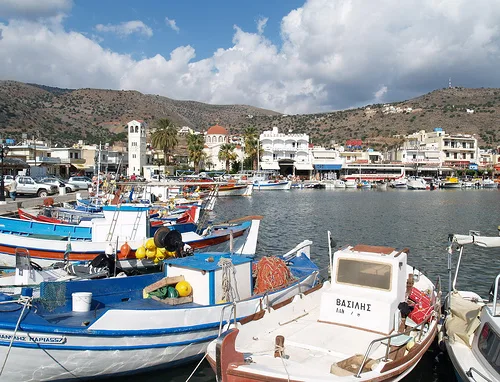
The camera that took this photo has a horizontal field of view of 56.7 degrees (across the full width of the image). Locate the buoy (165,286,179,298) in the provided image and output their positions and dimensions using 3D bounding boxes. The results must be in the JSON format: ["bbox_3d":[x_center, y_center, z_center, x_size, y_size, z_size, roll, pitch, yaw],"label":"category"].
[{"bbox_3d":[-2.175,2.832,13.056,0.228,0.314,0.119,-18,-8,-5],"label":"buoy"}]

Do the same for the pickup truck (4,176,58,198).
[{"bbox_3d":[-17.459,-0.333,37.589,2.782,1.590,3.674,1,-6,-15],"label":"pickup truck"}]

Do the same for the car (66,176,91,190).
[{"bbox_3d":[-17.760,-0.751,48.255,2.153,1.059,1.360,-3,10,-18],"label":"car"}]

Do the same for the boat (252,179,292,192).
[{"bbox_3d":[3.704,-1.068,78.314,6.554,1.785,2.381,0,13,0],"label":"boat"}]

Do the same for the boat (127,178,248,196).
[{"bbox_3d":[-6.536,0.144,60.060,12.560,2.208,2.572,-2,6,-5],"label":"boat"}]

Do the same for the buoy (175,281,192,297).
[{"bbox_3d":[-1.865,2.754,13.185,0.373,0.390,0.450,-6,-11,41],"label":"buoy"}]

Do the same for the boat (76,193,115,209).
[{"bbox_3d":[-9.505,0.613,28.730,3.201,1.241,0.772,3,4,31],"label":"boat"}]

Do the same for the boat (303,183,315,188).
[{"bbox_3d":[10.913,-1.029,84.135,1.937,0.812,0.929,-1,0,6],"label":"boat"}]

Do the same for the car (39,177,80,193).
[{"bbox_3d":[-16.922,-0.526,41.572,3.089,1.081,1.296,-1,7,-25],"label":"car"}]

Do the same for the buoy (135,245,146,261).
[{"bbox_3d":[-4.074,2.317,17.401,0.289,0.416,0.255,10,-16,-9],"label":"buoy"}]

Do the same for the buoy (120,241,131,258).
[{"bbox_3d":[-4.739,2.308,17.883,0.438,0.635,0.440,2,-5,9],"label":"buoy"}]

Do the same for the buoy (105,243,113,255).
[{"bbox_3d":[-4.976,2.083,16.469,0.275,0.313,0.278,1,-6,-4],"label":"buoy"}]

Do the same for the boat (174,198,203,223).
[{"bbox_3d":[-4.499,1.199,32.574,1.286,1.156,6.390,-1,-1,-3],"label":"boat"}]

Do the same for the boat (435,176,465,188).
[{"bbox_3d":[37.588,-1.737,86.460,6.050,2.209,1.964,2,1,15],"label":"boat"}]

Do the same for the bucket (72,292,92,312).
[{"bbox_3d":[-4.466,2.939,12.445,0.464,0.431,0.489,2,0,0],"label":"bucket"}]

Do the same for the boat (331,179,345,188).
[{"bbox_3d":[16.524,-1.290,86.272,2.562,1.335,1.613,-1,0,26],"label":"boat"}]

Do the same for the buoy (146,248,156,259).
[{"bbox_3d":[-3.666,2.323,17.269,0.319,0.385,0.329,1,4,29],"label":"buoy"}]
